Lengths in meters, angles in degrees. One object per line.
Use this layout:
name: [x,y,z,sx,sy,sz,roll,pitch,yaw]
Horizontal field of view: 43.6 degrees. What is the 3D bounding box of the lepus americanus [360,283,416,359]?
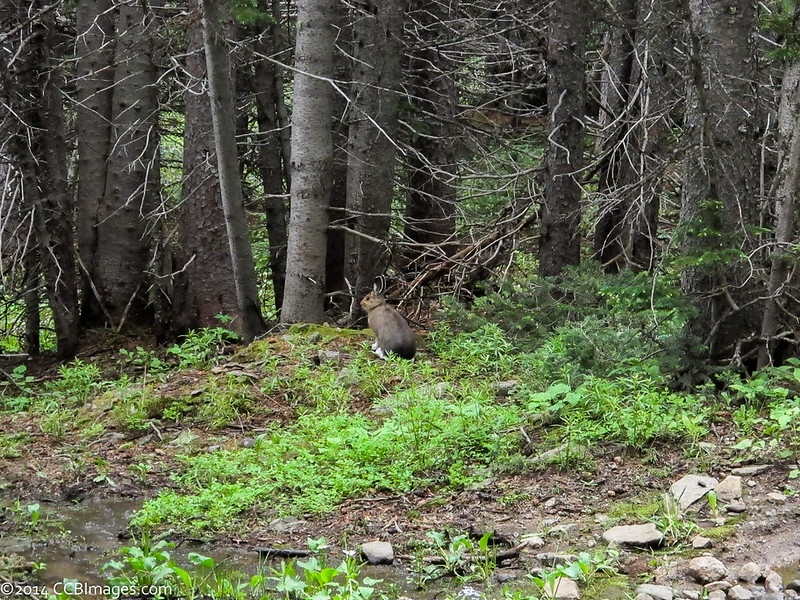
lepus americanus: [-0.149,0.251,12.538,0.465,0.907,1.152,-9,21,-26]
